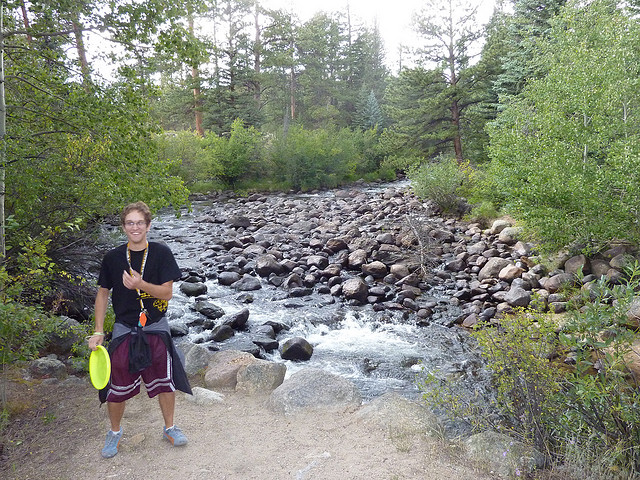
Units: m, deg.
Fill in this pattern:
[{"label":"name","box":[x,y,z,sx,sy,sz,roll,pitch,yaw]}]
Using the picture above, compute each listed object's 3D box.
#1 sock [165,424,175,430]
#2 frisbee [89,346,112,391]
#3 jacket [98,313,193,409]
[{"label":"sock","box":[-2.107,2.665,6.453,0.115,0.045,0.048,-8,16,-26]},{"label":"frisbee","box":[-2.894,1.703,6.056,0.265,0.551,0.396,-9,16,-28]},{"label":"jacket","box":[-2.302,1.423,6.557,1.107,1.368,1.298,8,4,16]}]
